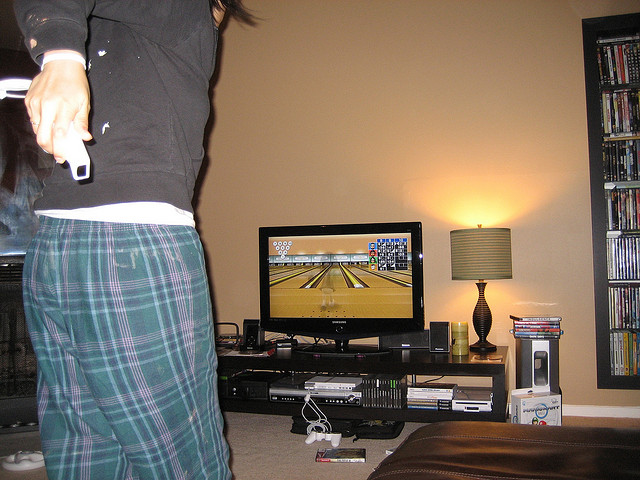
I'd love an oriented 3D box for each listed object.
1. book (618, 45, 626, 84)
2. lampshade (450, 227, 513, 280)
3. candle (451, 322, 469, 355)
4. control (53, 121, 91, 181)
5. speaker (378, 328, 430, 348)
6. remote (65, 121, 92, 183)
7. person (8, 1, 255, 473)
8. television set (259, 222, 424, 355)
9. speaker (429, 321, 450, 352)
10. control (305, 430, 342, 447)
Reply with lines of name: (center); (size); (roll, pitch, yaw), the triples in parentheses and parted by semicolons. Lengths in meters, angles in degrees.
book: (1.750, -1.023, 3.248); (0.033, 0.219, 0.012); (-2, -1, 16)
lampshade: (0.930, 0.084, 3.190); (0.338, 0.272, 0.358); (2, -4, -35)
candle: (0.763, 0.531, 3.052); (0.090, 0.137, 0.078); (-1, -1, 8)
control: (-0.481, -0.156, 1.095); (0.041, 0.039, 0.147); (24, -15, -30)
speaker: (0.479, 0.566, 3.208); (0.291, 0.080, 0.059); (-2, -1, 10)
remote: (-0.464, -0.169, 1.071); (0.043, 0.108, 0.076); (-1, -1, -24)
person: (-0.420, -0.022, 1.242); (0.424, 1.089, 0.211); (-1, -1, -27)
television set: (0.126, 0.277, 3.324); (1.032, 0.749, 0.276); (-2, 0, 24)
speaker: (0.671, 0.522, 3.148); (0.106, 0.177, 0.095); (2, 27, 14)
control: (0.023, 1.012, 2.896); (0.183, 0.051, 0.157); (-2, -1, 12)
